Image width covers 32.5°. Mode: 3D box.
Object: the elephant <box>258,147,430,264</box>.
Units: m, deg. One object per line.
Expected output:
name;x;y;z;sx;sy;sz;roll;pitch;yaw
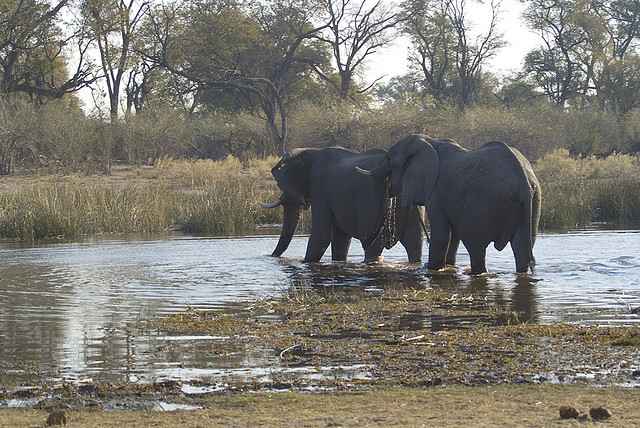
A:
elephant;0.730;-0.104;32.305;5.978;3.521;2.636;7;12;32
